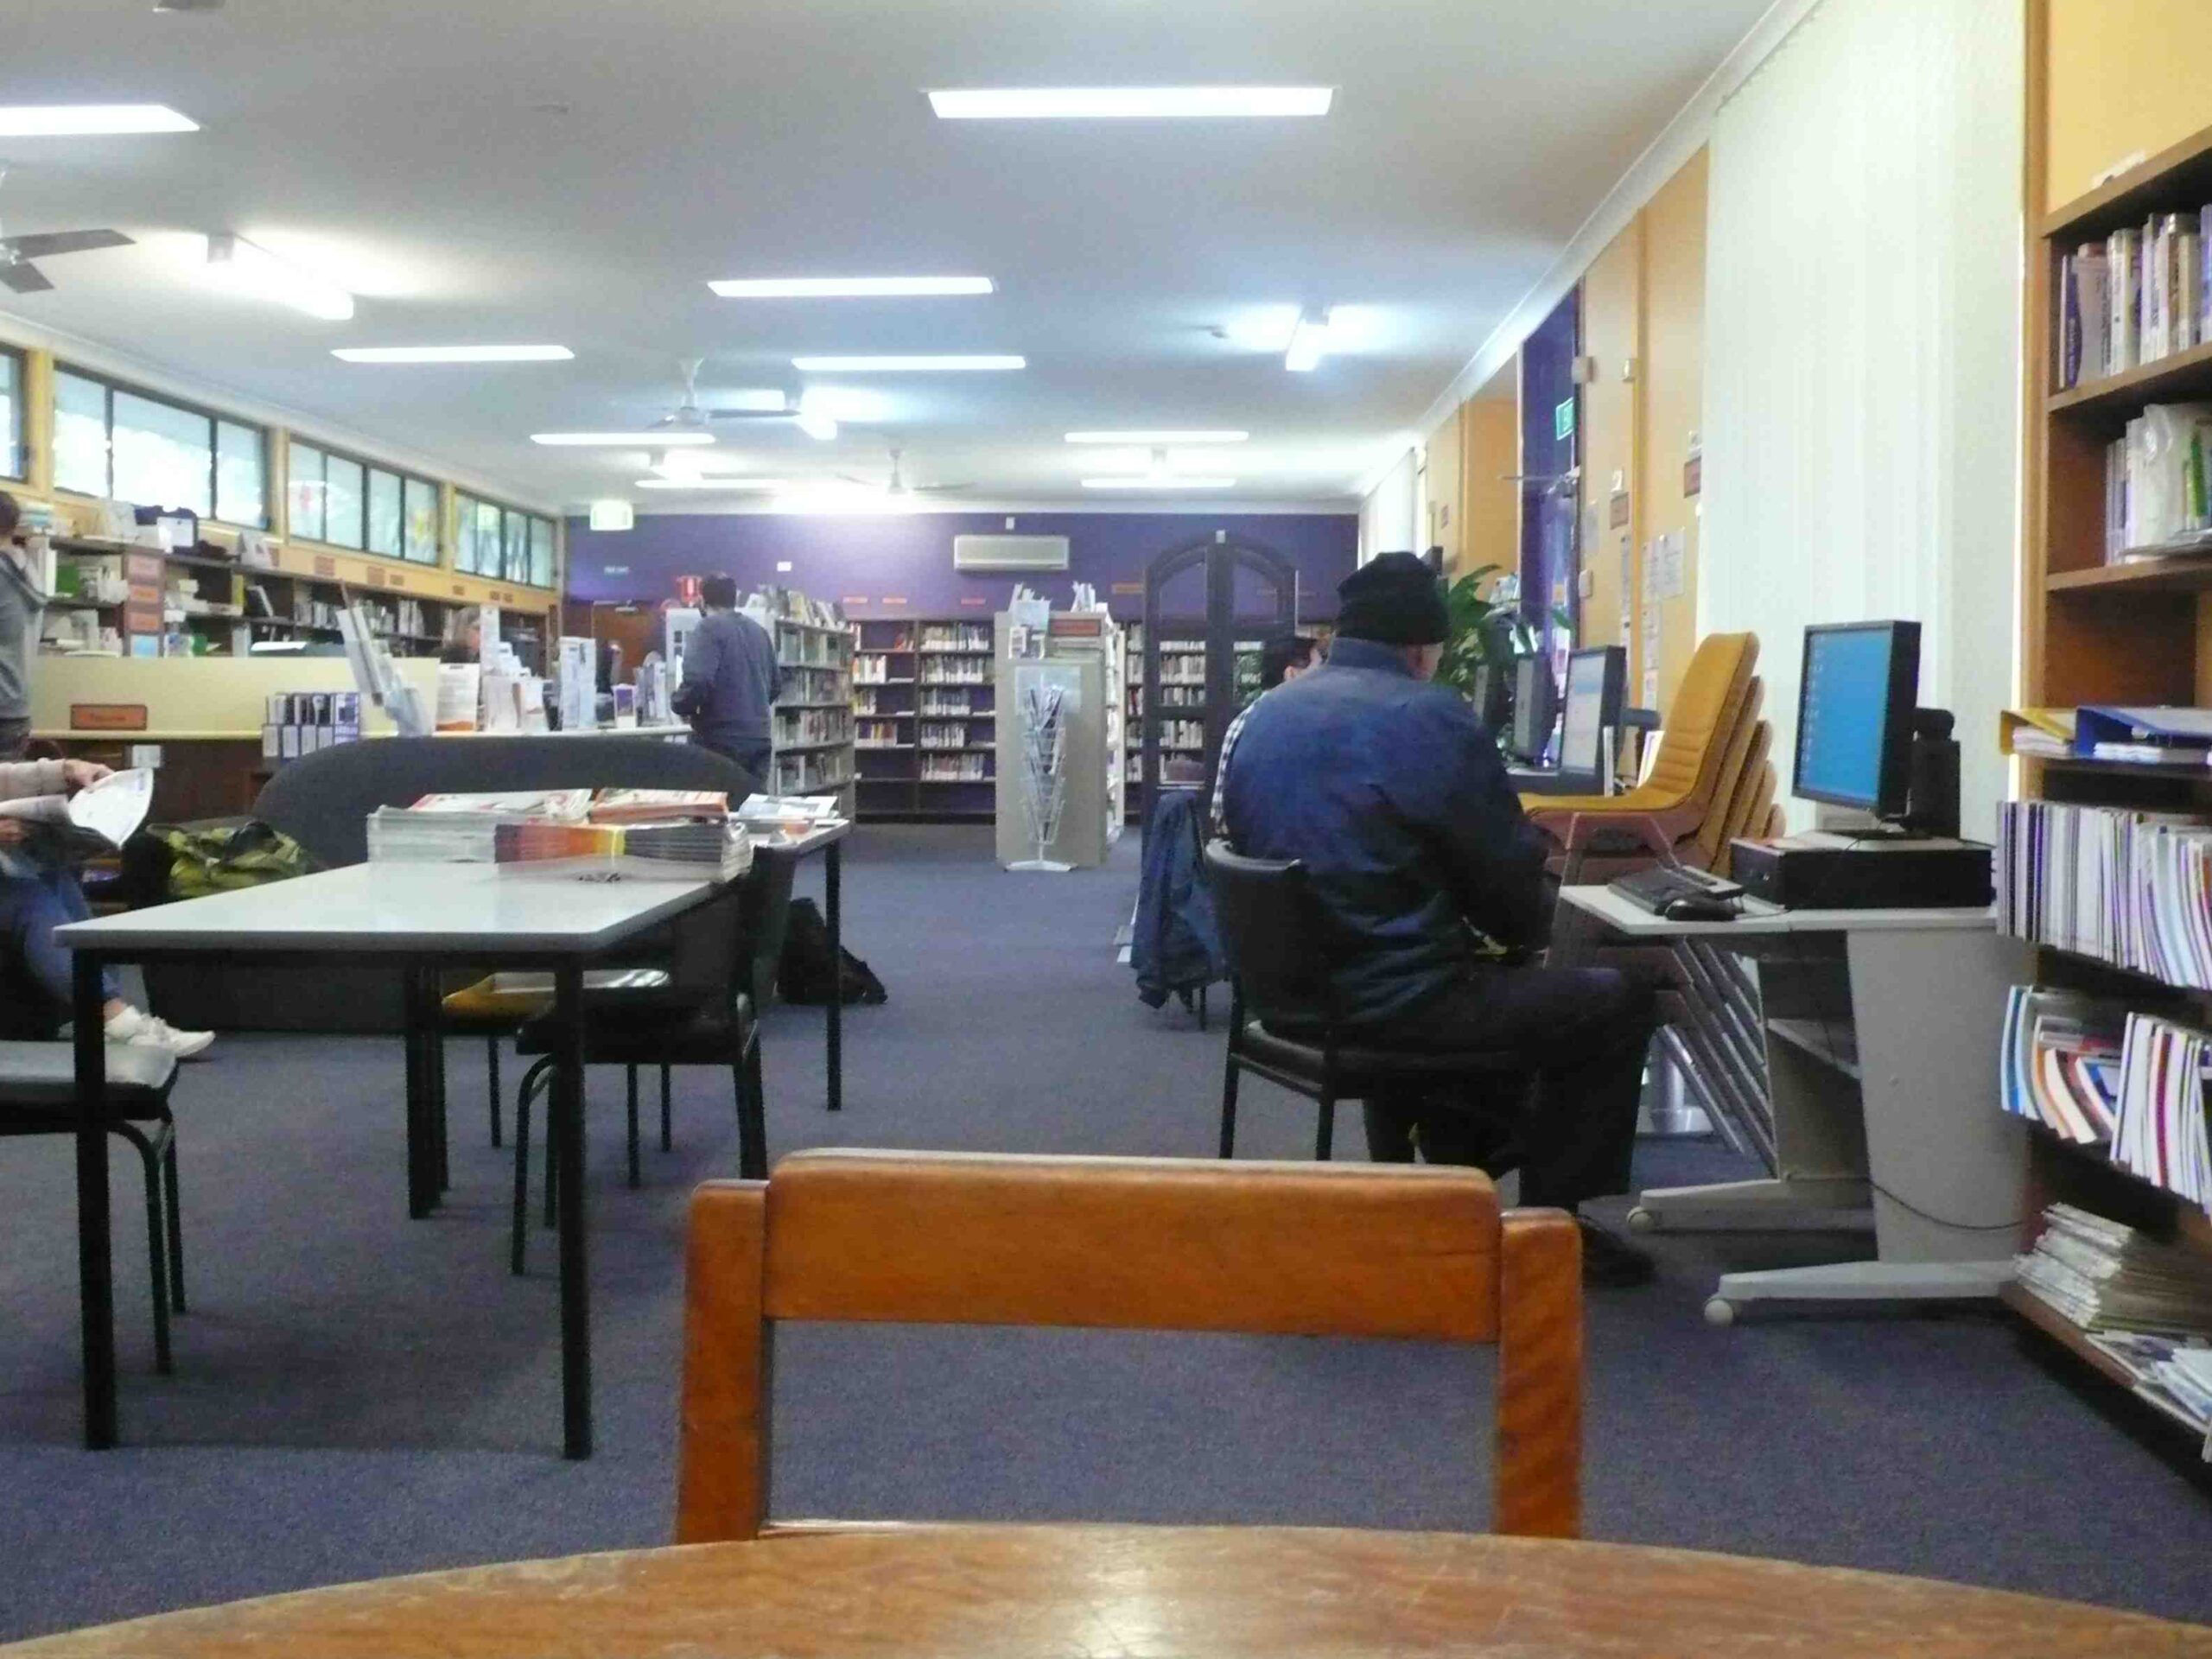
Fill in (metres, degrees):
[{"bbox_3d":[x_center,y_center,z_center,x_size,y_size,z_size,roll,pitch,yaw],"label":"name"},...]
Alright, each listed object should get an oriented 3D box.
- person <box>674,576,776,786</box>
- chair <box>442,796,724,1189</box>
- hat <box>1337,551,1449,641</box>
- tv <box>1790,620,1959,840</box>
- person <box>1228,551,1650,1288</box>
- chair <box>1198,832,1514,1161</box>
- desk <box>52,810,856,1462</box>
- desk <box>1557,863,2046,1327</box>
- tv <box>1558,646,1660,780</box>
[{"bbox_3d":[-2.111,-0.801,9.743,0.553,1.028,0.342,-1,6,-19],"label":"person"},{"bbox_3d":[-1.168,0.273,3.962,0.650,1.141,0.651,1,1,1],"label":"chair"},{"bbox_3d":[0.609,-0.481,3.743,0.197,0.171,0.206,1,6,11],"label":"hat"},{"bbox_3d":[1.612,-0.207,3.678,0.262,0.556,0.535,-2,1,-1],"label":"tv"},{"bbox_3d":[0.687,0.178,3.780,0.839,1.485,0.793,0,3,-16],"label":"person"},{"bbox_3d":[0.418,0.350,3.502,0.434,0.629,0.526,-3,7,-35],"label":"chair"},{"bbox_3d":[-1.268,0.492,3.400,0.973,0.972,1.149,1,6,1],"label":"desk"},{"bbox_3d":[1.422,0.485,3.716,0.750,0.748,0.979,1,1,4],"label":"desk"},{"bbox_3d":[1.816,-0.412,6.358,0.342,0.571,0.580,0,2,-3],"label":"tv"}]
